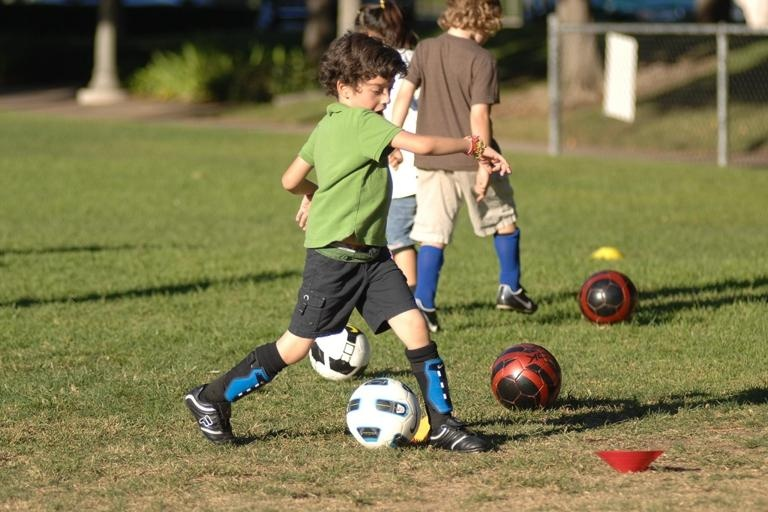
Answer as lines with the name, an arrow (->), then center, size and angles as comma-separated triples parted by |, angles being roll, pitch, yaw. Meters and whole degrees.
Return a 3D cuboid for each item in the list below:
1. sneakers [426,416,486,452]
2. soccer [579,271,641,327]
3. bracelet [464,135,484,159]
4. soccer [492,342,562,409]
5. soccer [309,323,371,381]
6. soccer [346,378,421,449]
sneakers -> 0.594, 1.426, 9.595 | 0.603, 0.291, 0.261 | -4, -9, 44
soccer -> 2.115, 0.385, 11.666 | 0.506, 0.496, 0.602 | 18, 9, 17
bracelet -> 0.725, -0.861, 9.523 | 0.121, 0.159, 0.079 | -2, 1, 23
soccer -> 1.169, 1.005, 9.989 | 0.520, 0.520, 0.543 | 4, 43, 2
soccer -> -0.328, 0.831, 10.636 | 0.477, 0.483, 0.477 | 15, 33, 24
soccer -> 0.040, 1.221, 9.842 | 0.592, 0.555, 0.535 | 10, 12, 11
